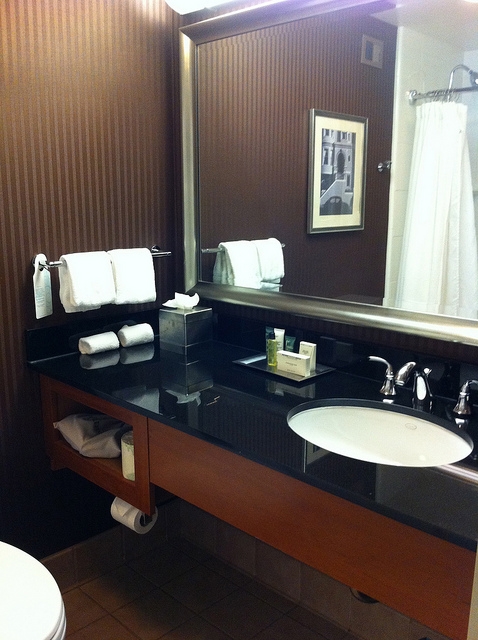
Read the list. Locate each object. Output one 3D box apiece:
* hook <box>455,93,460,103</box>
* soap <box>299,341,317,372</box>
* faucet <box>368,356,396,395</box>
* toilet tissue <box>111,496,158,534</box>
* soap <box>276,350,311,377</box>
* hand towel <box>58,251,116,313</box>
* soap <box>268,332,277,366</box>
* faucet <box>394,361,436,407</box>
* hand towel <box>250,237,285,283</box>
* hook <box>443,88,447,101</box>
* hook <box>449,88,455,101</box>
[{"bbox_3d":[0.464,-0.472,1.046,0.004,0.021,0.003,24,20,13],"label":"hook"},{"bbox_3d":[0.191,0.102,1.372,0.034,0.113,0.061,-4,7,-39],"label":"soap"},{"bbox_3d":[0.366,0.142,1.206,0.044,0.102,0.090,-1,7,-38],"label":"faucet"},{"bbox_3d":[-0.317,0.596,1.486,0.129,0.108,0.092,0,8,-13],"label":"toilet tissue"},{"bbox_3d":[0.150,0.119,1.390,0.121,0.054,0.042,8,10,37],"label":"soap"},{"bbox_3d":[-0.464,-0.122,1.496,0.135,0.152,0.071,-15,21,-41],"label":"hand towel"},{"bbox_3d":[0.098,0.095,1.447,0.032,0.075,0.023,4,8,21],"label":"soap"},{"bbox_3d":[0.417,0.157,1.209,0.053,0.120,0.148,0,5,-23],"label":"faucet"},{"bbox_3d":[0.090,-0.189,1.588,0.112,0.134,0.045,3,6,44],"label":"hand towel"},{"bbox_3d":[0.445,-0.489,1.066,0.004,0.022,0.008,-5,9,-38],"label":"hook"},{"bbox_3d":[0.456,-0.484,1.054,0.005,0.027,0.004,11,20,8],"label":"hook"}]
